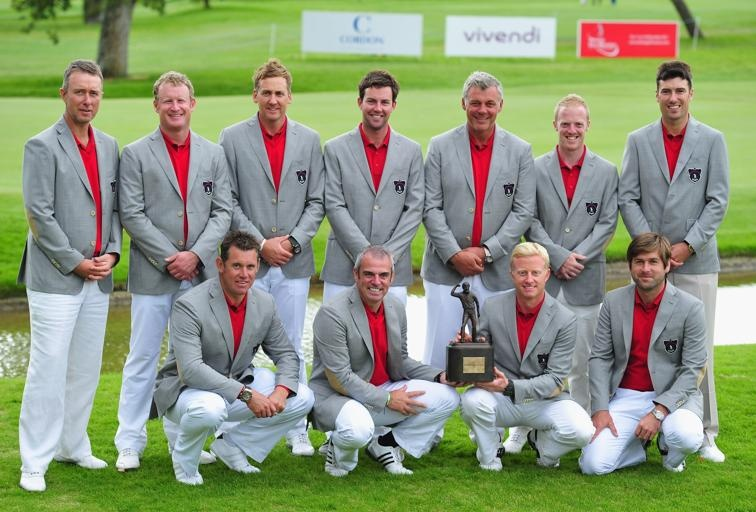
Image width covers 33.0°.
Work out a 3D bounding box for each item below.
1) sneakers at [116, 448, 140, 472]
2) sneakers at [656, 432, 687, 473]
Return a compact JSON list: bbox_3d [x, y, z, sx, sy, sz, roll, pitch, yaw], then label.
[{"bbox_3d":[-2.909,2.360,14.950,0.280,0.228,0.222,-4,10,-13],"label":"sneakers"},{"bbox_3d":[3.446,2.278,14.883,0.225,0.424,0.298,-26,26,-14],"label":"sneakers"}]
